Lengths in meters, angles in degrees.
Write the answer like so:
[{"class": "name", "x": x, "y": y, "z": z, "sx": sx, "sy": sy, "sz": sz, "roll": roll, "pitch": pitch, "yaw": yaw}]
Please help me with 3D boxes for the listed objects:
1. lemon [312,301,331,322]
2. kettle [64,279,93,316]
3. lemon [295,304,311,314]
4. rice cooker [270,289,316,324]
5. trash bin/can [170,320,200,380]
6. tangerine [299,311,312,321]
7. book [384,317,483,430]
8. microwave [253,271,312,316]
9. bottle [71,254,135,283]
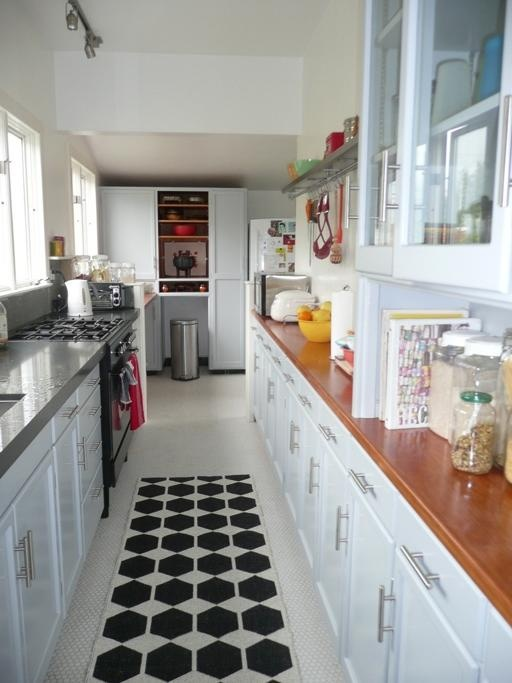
[{"class": "lemon", "x": 0.372, "y": -0.152, "z": 2.675, "sx": 0.089, "sy": 0.077, "sz": 0.160, "roll": 8, "pitch": 26, "yaw": 10}, {"class": "kettle", "x": -1.214, "y": -0.289, "z": 3.226, "sx": 0.178, "sy": 0.266, "sz": 0.232, "roll": -6, "pitch": 15, "yaw": -33}, {"class": "lemon", "x": 0.282, "y": -0.182, "z": 2.883, "sx": 0.068, "sy": 0.038, "sz": 0.071, "roll": 7, "pitch": 30, "yaw": 14}, {"class": "rice cooker", "x": 0.255, "y": -0.247, "z": 3.258, "sx": 0.258, "sy": 0.206, "sz": 0.205, "roll": -3, "pitch": 13, "yaw": -11}, {"class": "trash bin/can", "x": -0.841, "y": 0.109, "z": 5.582, "sx": 0.318, "sy": 0.699, "sz": 0.266, "roll": -1, "pitch": 7, "yaw": -10}, {"class": "tangerine", "x": 0.286, "y": -0.159, "z": 2.733, "sx": 0.052, "sy": 0.040, "sz": 0.071, "roll": 7, "pitch": 50, "yaw": 10}, {"class": "book", "x": 0.420, "y": 0.076, "z": 1.126, "sx": 0.255, "sy": 0.362, "sz": 0.119, "roll": 0, "pitch": 5, "yaw": -8}, {"class": "microwave", "x": 0.200, "y": -0.415, "z": 3.641, "sx": 0.313, "sy": 0.301, "sz": 0.447, "roll": 0, "pitch": 11, "yaw": -2}, {"class": "bottle", "x": -1.326, "y": -0.624, "z": 4.126, "sx": 0.595, "sy": 0.219, "sz": 0.406, "roll": -5, "pitch": 9, "yaw": -41}]
